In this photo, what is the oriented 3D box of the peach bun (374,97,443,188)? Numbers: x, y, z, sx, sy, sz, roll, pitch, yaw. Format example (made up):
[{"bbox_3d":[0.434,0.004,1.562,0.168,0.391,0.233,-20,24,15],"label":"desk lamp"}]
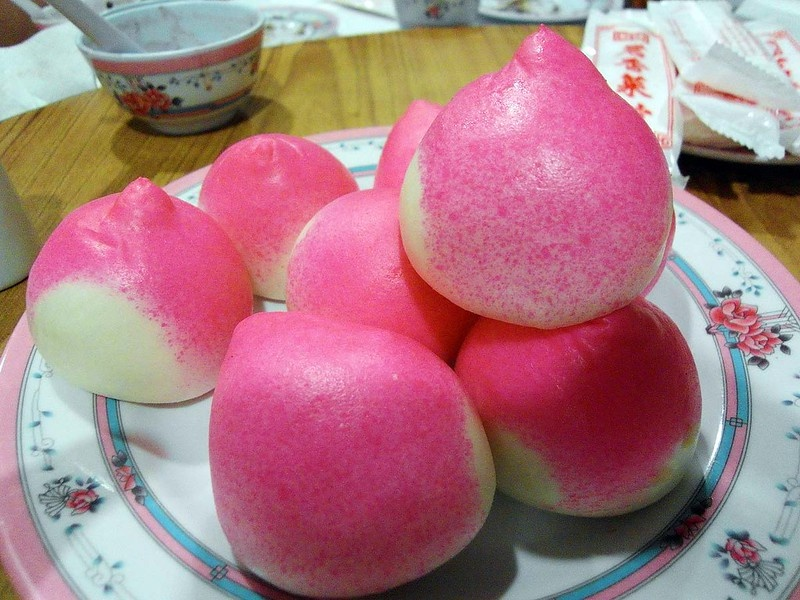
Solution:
[{"bbox_3d":[-0.004,-0.153,0.720,0.051,0.100,0.075,17,36,8],"label":"peach bun"}]

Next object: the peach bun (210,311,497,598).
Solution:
[{"bbox_3d":[-0.041,0.117,0.514,0.199,0.119,0.225,-4,83,-1],"label":"peach bun"}]

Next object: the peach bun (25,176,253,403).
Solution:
[{"bbox_3d":[-0.279,0.003,0.731,0.214,0.190,0.208,40,49,20],"label":"peach bun"}]

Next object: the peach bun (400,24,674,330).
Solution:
[{"bbox_3d":[0.124,-0.086,0.607,0.206,0.201,0.220,31,57,27],"label":"peach bun"}]

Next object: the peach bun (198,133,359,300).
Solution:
[{"bbox_3d":[-0.152,-0.110,0.838,0.173,0.203,0.165,-23,43,-36],"label":"peach bun"}]
